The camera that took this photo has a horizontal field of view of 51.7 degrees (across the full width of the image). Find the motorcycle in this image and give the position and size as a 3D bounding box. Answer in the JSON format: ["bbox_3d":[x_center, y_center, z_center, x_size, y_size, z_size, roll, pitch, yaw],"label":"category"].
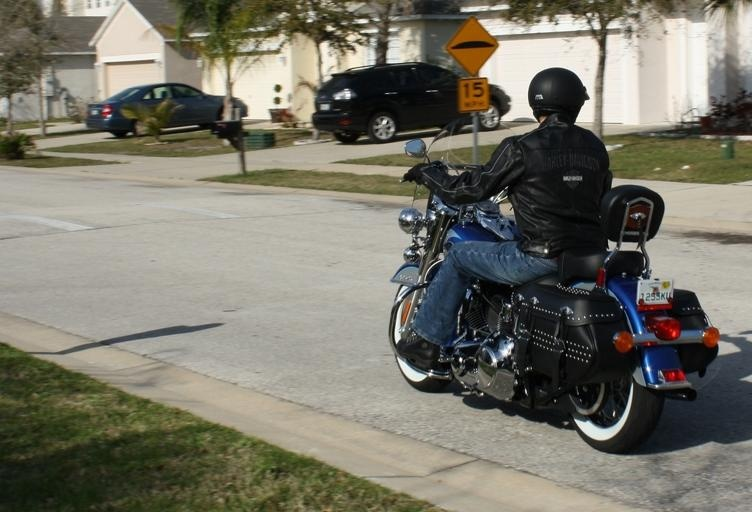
[{"bbox_3d":[1.157,0.255,5.334,1.965,2.140,0.763,7,13,43],"label":"motorcycle"}]

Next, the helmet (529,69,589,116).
[{"bbox_3d":[1.271,-1.151,5.555,0.488,0.339,0.508,6,16,10],"label":"helmet"}]
